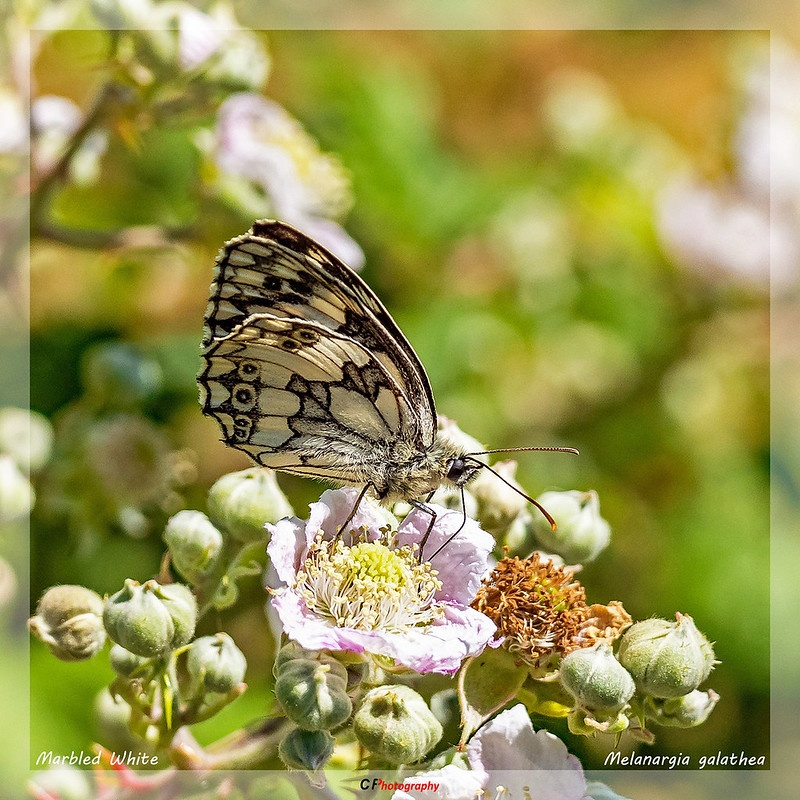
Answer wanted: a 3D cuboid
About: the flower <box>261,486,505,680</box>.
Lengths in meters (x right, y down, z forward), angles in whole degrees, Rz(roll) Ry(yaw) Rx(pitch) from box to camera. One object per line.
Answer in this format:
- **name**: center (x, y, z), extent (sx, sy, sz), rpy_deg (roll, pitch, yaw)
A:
- **flower**: center (-0.114, 0.444, 2.544), extent (0.560, 0.168, 0.505), rpy_deg (15, 3, -40)
